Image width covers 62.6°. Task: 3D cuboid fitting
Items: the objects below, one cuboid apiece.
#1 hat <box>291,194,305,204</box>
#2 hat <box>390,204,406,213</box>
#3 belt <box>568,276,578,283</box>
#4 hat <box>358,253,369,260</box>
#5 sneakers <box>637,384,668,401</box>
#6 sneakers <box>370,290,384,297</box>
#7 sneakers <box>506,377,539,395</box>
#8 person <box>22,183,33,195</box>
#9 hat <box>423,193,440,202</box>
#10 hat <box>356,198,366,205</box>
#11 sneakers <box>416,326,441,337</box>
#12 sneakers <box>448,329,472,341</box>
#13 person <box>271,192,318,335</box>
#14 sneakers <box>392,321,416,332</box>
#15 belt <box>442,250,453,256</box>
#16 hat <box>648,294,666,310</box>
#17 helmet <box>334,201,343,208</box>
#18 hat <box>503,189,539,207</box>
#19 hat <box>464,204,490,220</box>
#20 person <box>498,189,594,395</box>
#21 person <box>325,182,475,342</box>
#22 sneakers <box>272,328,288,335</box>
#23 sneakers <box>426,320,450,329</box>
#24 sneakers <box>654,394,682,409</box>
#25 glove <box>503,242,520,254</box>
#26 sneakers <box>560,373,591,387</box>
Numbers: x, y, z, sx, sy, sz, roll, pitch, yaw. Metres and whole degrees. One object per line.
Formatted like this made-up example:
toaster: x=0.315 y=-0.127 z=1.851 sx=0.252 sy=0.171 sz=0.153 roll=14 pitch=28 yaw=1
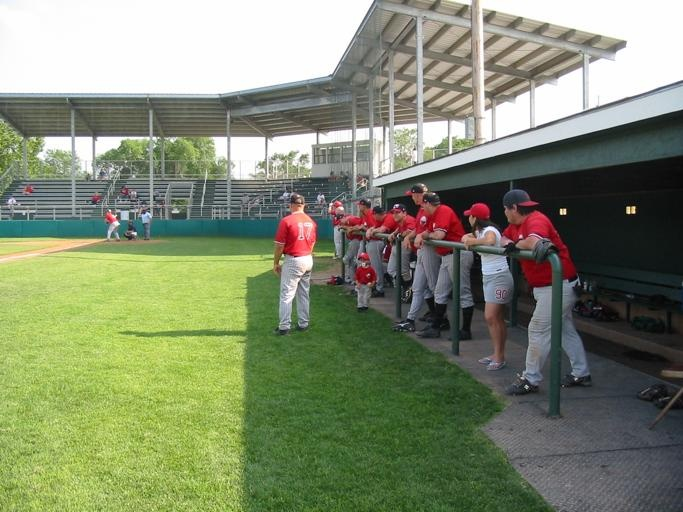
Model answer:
hat: x=-0.595 y=-0.755 z=7.477 sx=0.179 sy=0.124 sz=0.286 roll=10 pitch=4 yaw=-8
hat: x=0.956 y=-0.751 z=8.984 sx=0.280 sy=0.142 sz=0.212 roll=3 pitch=1 yaw=-39
belt: x=2.292 y=0.227 z=5.527 sx=0.194 sy=0.057 sz=0.041 roll=-9 pitch=13 yaw=-41
hat: x=0.356 y=-0.008 z=9.204 sx=0.223 sy=0.104 sz=0.137 roll=11 pitch=-4 yaw=-5
sneakers: x=3.043 y=1.290 z=5.443 sx=0.225 sy=0.066 sz=0.142 roll=-17 pitch=5 yaw=-32
sneakers: x=0.696 y=0.730 z=10.893 sx=0.265 sy=0.117 sz=0.093 roll=5 pitch=-3 yaw=0
sneakers: x=1.877 y=1.302 z=5.704 sx=0.373 sy=0.184 sz=0.136 roll=1 pitch=7 yaw=-2
person: x=-20.911 y=-4.504 z=37.597 sx=0.677 sy=0.945 sz=0.346 roll=-1 pitch=-13 yaw=-1
hat: x=1.190 y=-0.792 z=7.479 sx=0.126 sy=0.098 sz=0.168 roll=-11 pitch=33 yaw=-34
hat: x=0.362 y=-1.092 z=11.028 sx=0.241 sy=0.129 sz=0.157 roll=8 pitch=9 yaw=22
sneakers: x=1.201 y=1.043 z=7.758 sx=0.378 sy=0.158 sz=0.124 roll=1 pitch=-1 yaw=2
sneakers: x=1.582 y=1.058 z=7.571 sx=0.445 sy=0.173 sz=0.145 roll=2 pitch=-3 yaw=-10
person: x=-0.651 y=0.121 z=7.659 sx=0.364 sy=1.920 sz=0.685 roll=6 pitch=12 yaw=33
sneakers: x=0.888 y=0.997 z=8.013 sx=0.334 sy=0.138 sz=0.134 roll=3 pitch=-2 yaw=3
belt: x=1.403 y=-0.042 z=7.356 sx=0.045 sy=0.084 sz=0.186 roll=-6 pitch=11 yaw=-27
hat: x=4.636 y=0.666 z=8.250 sx=0.248 sy=0.206 sz=0.190 roll=3 pitch=-30 yaw=-44
helmet: x=-0.078 y=-1.387 z=14.925 sx=0.269 sy=0.121 sz=0.376 roll=4 pitch=8 yaw=-11
hat: x=1.793 y=-0.565 z=5.610 sx=0.329 sy=0.167 sz=0.219 roll=-1 pitch=6 yaw=17
hat: x=1.574 y=-0.531 z=6.603 sx=0.285 sy=0.165 sz=0.199 roll=25 pitch=32 yaw=35
person: x=2.019 y=0.380 z=5.568 sx=0.947 sy=2.047 sz=0.947 roll=4 pitch=11 yaw=24
person: x=1.257 y=0.079 z=7.747 sx=0.938 sy=2.095 sz=1.334 roll=-2 pitch=10 yaw=-7
sneakers: x=-0.832 y=1.025 z=7.665 sx=0.179 sy=0.075 sz=0.071 roll=4 pitch=2 yaw=2
sneakers: x=1.421 y=0.984 z=8.055 sx=0.446 sy=0.183 sz=0.159 roll=5 pitch=-8 yaw=-39
sneakers: x=3.086 y=1.394 z=5.298 sx=0.224 sy=0.082 sz=0.135 roll=-18 pitch=12 yaw=35
glove: x=1.629 y=-0.072 z=5.386 sx=0.181 sy=0.120 sz=0.101 roll=7 pitch=13 yaw=38
sneakers: x=2.431 y=1.298 z=5.894 sx=0.319 sy=0.142 sz=0.127 roll=2 pitch=0 yaw=5
